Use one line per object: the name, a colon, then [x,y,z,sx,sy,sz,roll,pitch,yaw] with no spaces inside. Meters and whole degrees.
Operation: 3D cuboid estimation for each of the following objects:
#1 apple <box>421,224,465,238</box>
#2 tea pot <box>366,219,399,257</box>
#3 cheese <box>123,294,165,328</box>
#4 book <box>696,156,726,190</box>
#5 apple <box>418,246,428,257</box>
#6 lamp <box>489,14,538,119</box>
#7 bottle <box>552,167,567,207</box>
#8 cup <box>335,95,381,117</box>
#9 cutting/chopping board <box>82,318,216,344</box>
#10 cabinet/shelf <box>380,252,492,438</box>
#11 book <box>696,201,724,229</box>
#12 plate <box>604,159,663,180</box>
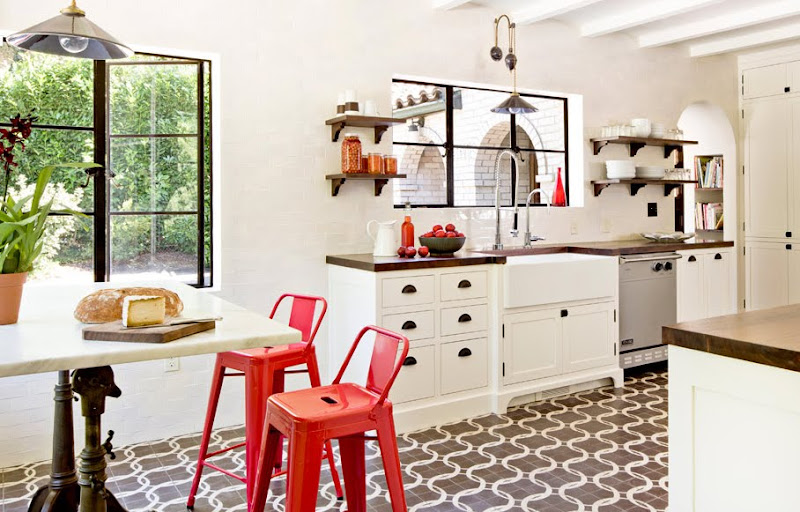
apple: [0.363,-0.174,4.710,0.182,0.058,0.183,-2,-3,41]
tea pot: [-0.193,-0.133,4.739,0.330,0.307,0.215,1,2,-8]
cheese: [-1.121,0.270,2.742,0.216,0.120,0.159,6,-20,-43]
book: [3.540,-0.925,6.839,0.425,0.393,0.244,0,4,-14]
apple: [0.185,-0.023,4.554,0.072,0.069,0.071,5,8,23]
lamp: [0.982,-1.680,5.175,0.392,0.911,0.913,1,12,8]
bottle: [1.533,-0.646,5.737,0.136,0.377,0.656,3,12,15]
cup: [-0.329,-1.158,4.684,0.329,0.175,0.166,1,1,-14]
cutting/chopping board: [-1.118,0.335,2.635,0.568,0.049,0.232,-1,12,-3]
cabinet/shelf: [0.145,0.642,4.752,1.009,1.204,0.733,-5,9,-27]
book: [3.589,-0.425,6.981,0.397,0.359,0.290,1,0,-34]
plate: [2.310,-0.839,5.974,0.445,0.163,0.285,-2,2,-24]
